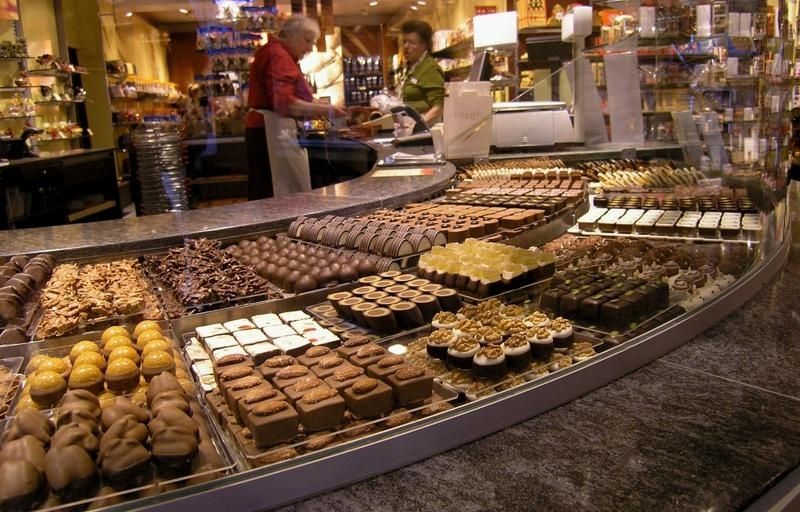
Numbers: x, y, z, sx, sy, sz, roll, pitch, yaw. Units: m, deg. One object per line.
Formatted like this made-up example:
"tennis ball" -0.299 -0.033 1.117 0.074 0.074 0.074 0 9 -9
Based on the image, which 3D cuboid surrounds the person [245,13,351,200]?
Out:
"person" -0.662 -0.974 3.265 0.709 1.316 0.601 -8 49 -19
